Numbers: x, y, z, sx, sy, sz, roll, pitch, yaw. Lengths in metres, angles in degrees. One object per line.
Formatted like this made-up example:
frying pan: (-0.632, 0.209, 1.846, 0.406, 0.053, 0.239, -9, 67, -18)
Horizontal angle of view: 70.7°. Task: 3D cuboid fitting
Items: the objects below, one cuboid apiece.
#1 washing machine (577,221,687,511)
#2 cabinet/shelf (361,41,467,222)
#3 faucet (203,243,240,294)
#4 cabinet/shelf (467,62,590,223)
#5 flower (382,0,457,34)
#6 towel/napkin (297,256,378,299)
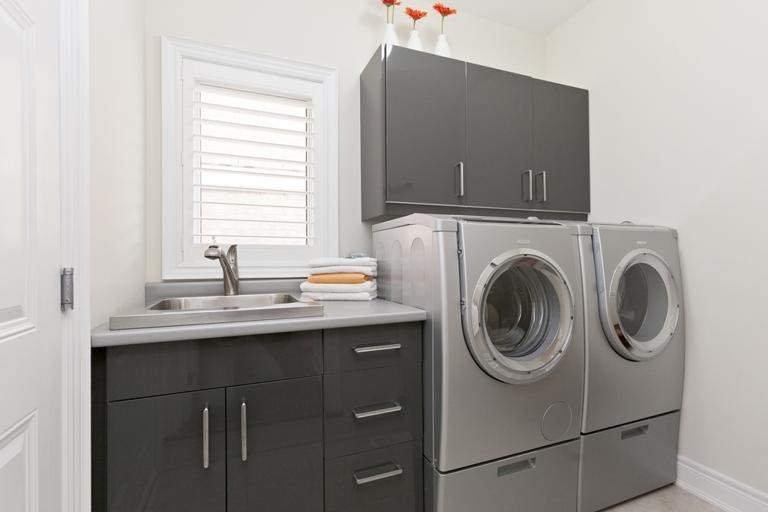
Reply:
washing machine: (1.384, 0.588, 3.058, 0.877, 1.548, 0.280, -5, 7, -31)
cabinet/shelf: (0.176, -0.733, 3.323, 0.680, 1.036, 0.375, -1, 6, 2)
faucet: (-0.920, 0.077, 3.103, 0.153, 0.297, 0.257, -3, 6, -9)
cabinet/shelf: (0.924, -0.685, 3.480, 1.062, 0.996, 0.343, 3, -5, -23)
flower: (0.251, -1.498, 3.579, 0.448, 0.194, 0.185, 1, 2, -14)
towel/napkin: (-0.254, 0.130, 3.145, 0.449, 0.244, 0.209, -2, 6, -6)
